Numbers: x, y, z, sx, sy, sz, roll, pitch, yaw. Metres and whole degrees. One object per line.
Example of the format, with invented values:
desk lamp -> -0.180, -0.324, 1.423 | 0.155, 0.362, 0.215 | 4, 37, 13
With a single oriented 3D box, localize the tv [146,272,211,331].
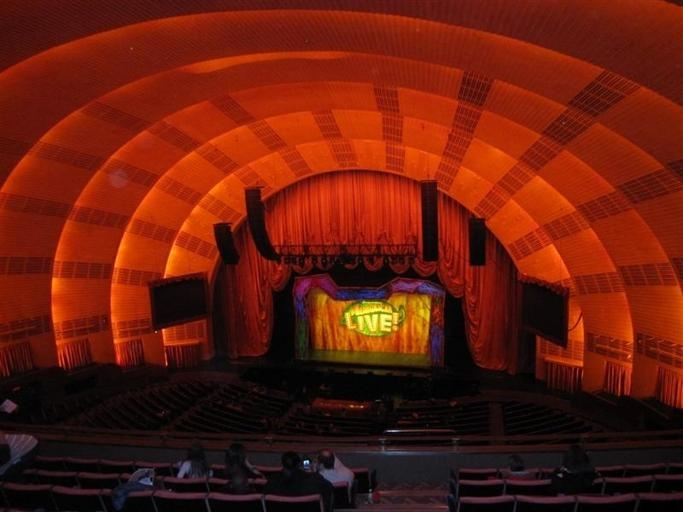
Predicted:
tv -> -6.280, 1.616, 19.533 | 0.253, 1.793, 2.590 | -7, 0, 33
